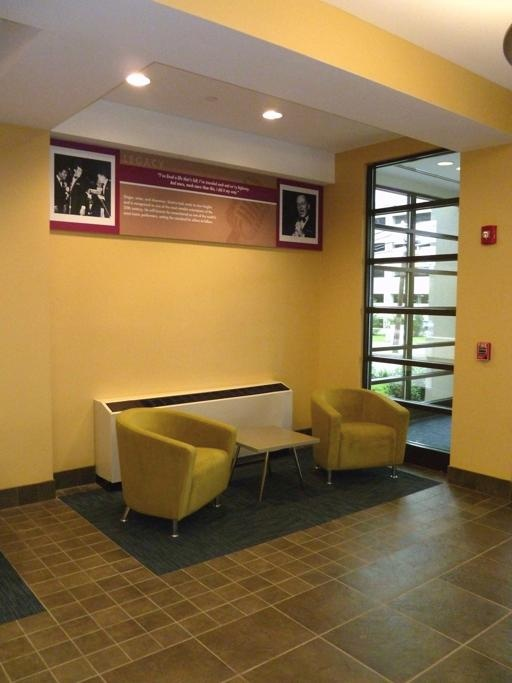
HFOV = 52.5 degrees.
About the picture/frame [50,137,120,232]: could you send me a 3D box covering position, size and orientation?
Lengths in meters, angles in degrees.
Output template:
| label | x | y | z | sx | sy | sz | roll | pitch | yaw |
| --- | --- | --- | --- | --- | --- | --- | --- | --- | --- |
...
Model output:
| label | x | y | z | sx | sy | sz | roll | pitch | yaw |
| --- | --- | --- | --- | --- | --- | --- | --- | --- | --- |
| picture/frame | -1.625 | -1.455 | 4.959 | 0.893 | 0.826 | 0.069 | 14 | 18 | 21 |
